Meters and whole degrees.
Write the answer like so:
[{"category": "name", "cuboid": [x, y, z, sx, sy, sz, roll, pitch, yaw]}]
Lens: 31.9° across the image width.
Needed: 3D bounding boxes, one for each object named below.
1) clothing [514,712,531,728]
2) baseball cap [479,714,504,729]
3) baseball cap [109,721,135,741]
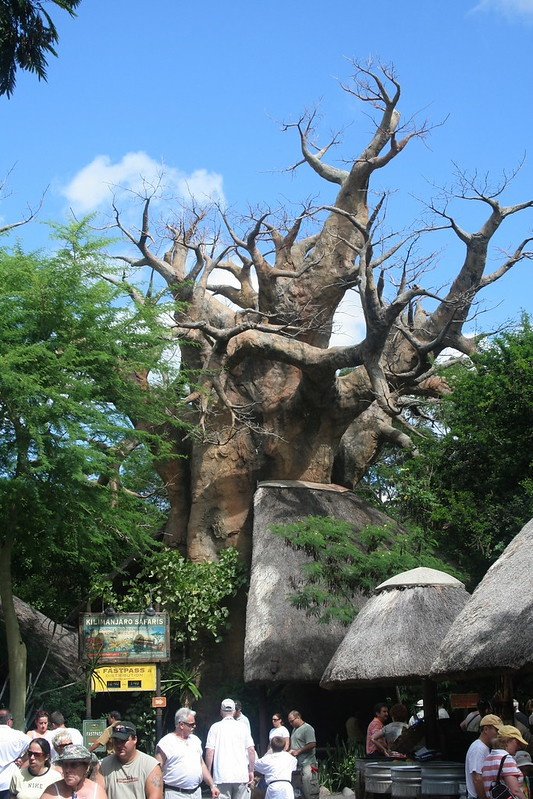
[{"category": "clothing", "cuboid": [3.272, 4.092, 11.899, 0.253, 0.226, 0.068, 28, -60, -22]}, {"category": "baseball cap", "cuboid": [1.692, 2.436, 7.075, 0.162, 0.072, 0.101, 0, -10, 7]}, {"category": "baseball cap", "cuboid": [-1.011, 2.317, 6.552, 0.147, 0.085, 0.181, -4, -20, 9]}]
